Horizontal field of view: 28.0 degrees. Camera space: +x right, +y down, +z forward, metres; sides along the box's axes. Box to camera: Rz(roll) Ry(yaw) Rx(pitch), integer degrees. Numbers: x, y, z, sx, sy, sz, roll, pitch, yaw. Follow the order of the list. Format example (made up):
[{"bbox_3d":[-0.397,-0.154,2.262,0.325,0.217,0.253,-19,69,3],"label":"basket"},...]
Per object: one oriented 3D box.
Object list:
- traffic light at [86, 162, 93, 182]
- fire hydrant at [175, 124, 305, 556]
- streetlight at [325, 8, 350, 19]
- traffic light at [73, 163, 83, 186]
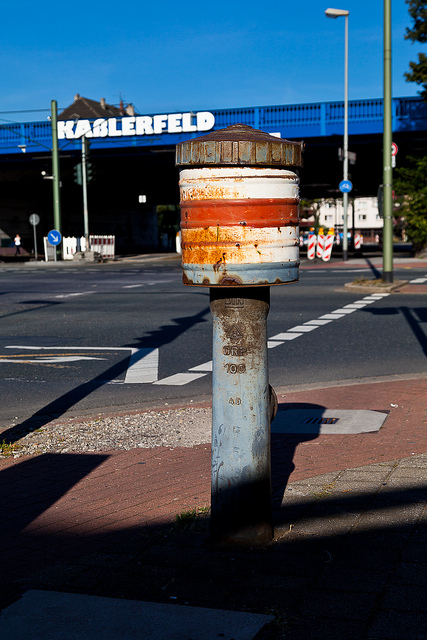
[{"bbox_3d":[-5.868,-6.991,40.349,0.232,0.792,0.838,-3,12,-9],"label":"traffic light"},{"bbox_3d":[0.135,0.071,3.402,0.474,1.664,0.477,-5,12,-17],"label":"fire hydrant"},{"bbox_3d":[4.889,-12.379,34.463,1.069,0.239,0.589,-11,15,-36],"label":"streetlight"},{"bbox_3d":[-6.291,-6.830,40.031,0.213,0.828,0.564,-7,11,-18],"label":"traffic light"}]
